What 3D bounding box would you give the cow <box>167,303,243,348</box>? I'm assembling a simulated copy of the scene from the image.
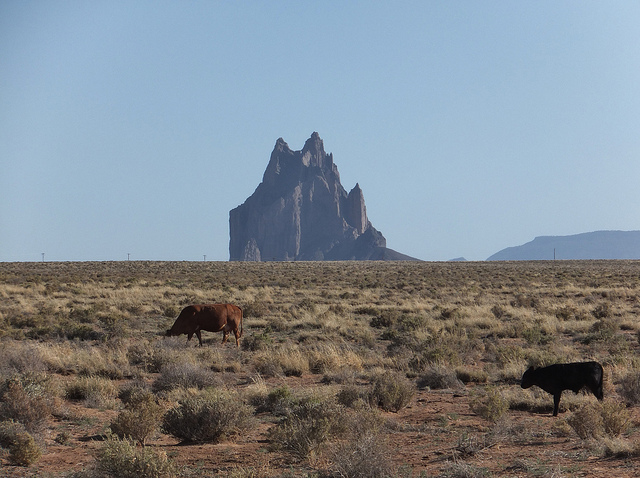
[{"bbox_3d":[-4.533,3.393,31.752,2.857,2.042,1.215,5,-18,-23],"label":"cow"}]
